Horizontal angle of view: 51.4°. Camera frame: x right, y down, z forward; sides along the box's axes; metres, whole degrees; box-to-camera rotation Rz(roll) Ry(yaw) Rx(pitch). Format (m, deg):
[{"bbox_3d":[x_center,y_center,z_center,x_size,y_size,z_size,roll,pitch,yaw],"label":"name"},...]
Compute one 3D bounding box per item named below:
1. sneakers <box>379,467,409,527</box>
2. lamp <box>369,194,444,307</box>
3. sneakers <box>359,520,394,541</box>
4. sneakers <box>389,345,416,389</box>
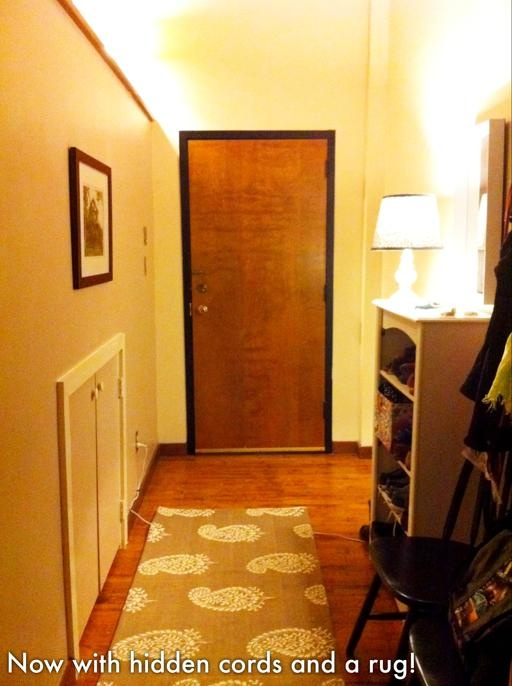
[{"bbox_3d":[0.565,0.640,2.176,0.078,0.121,0.267,1,4,5],"label":"sneakers"},{"bbox_3d":[0.702,-0.399,2.311,0.381,0.460,0.249,-2,5,-26],"label":"lamp"},{"bbox_3d":[0.527,0.843,2.295,0.105,0.055,0.131,-1,1,3],"label":"sneakers"},{"bbox_3d":[0.580,0.093,2.068,0.047,0.124,0.136,-2,-9,0],"label":"sneakers"}]
